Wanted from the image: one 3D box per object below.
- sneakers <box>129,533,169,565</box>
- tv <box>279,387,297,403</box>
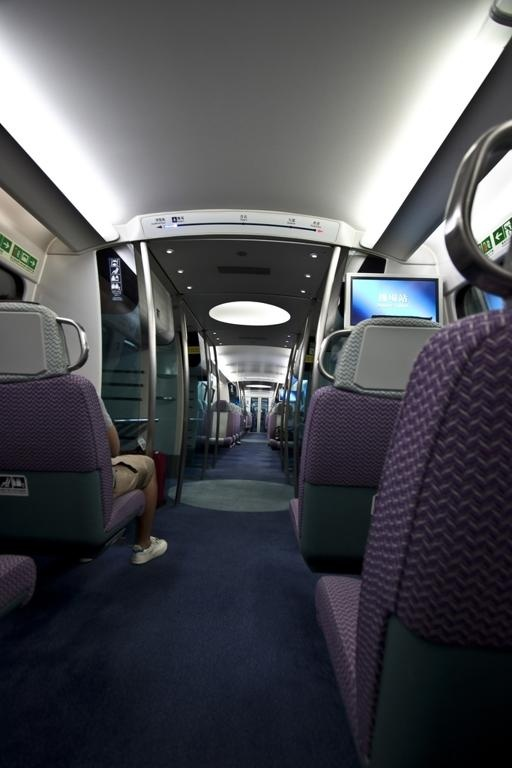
[{"bbox_3d":[-0.746,1.185,3.331,0.088,0.110,0.248,3,3,17],"label":"sneakers"},{"bbox_3d":[0.821,0.274,12.161,0.503,0.509,0.893,2,-4,3],"label":"tv"}]
